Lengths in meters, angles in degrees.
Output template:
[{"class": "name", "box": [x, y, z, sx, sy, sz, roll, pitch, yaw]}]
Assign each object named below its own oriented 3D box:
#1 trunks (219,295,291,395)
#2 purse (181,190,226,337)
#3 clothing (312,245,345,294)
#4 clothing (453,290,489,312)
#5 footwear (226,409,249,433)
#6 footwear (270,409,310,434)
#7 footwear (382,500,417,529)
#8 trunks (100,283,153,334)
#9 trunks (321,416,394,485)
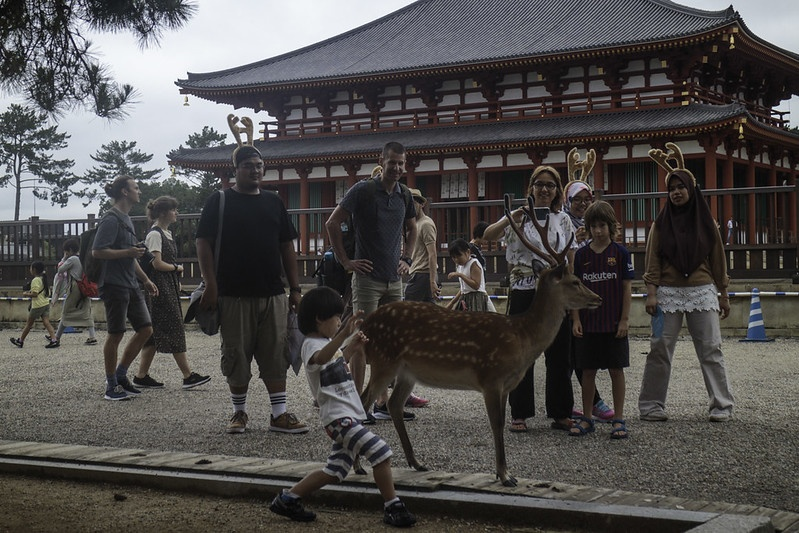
[{"class": "trunks", "box": [-1.544, 0.861, 8.814, 0.798, 0.468, 1.503, 2, 37, -14]}, {"class": "purse", "box": [-2.097, -0.046, 8.740, 0.448, 1.577, 0.319, 0, -1, 16]}, {"class": "clothing", "box": [-0.863, 0.088, 9.787, 0.527, 0.546, 0.397, 1, 3, 15]}, {"class": "clothing", "box": [0.979, 0.469, 10.683, 0.344, 0.267, 0.295, 2, 0, 13]}, {"class": "footwear", "box": [-1.735, 1.679, 8.702, 0.266, 0.240, 0.227, 1, -1, -30]}, {"class": "footwear", "box": [-1.199, 1.707, 8.716, 0.480, 0.207, 0.178, 2, -4, 3]}, {"class": "footwear", "box": [-0.002, 2.075, 6.723, 0.279, 0.168, 0.171, 1, 1, 39]}, {"class": "trunks", "box": [-3.455, 0.548, 10.161, 0.623, 0.605, 0.390, 1, -1, -29]}, {"class": "trunks", "box": [-0.380, 1.634, 7.016, 0.473, 0.398, 0.190, -33, -13, 5]}]
